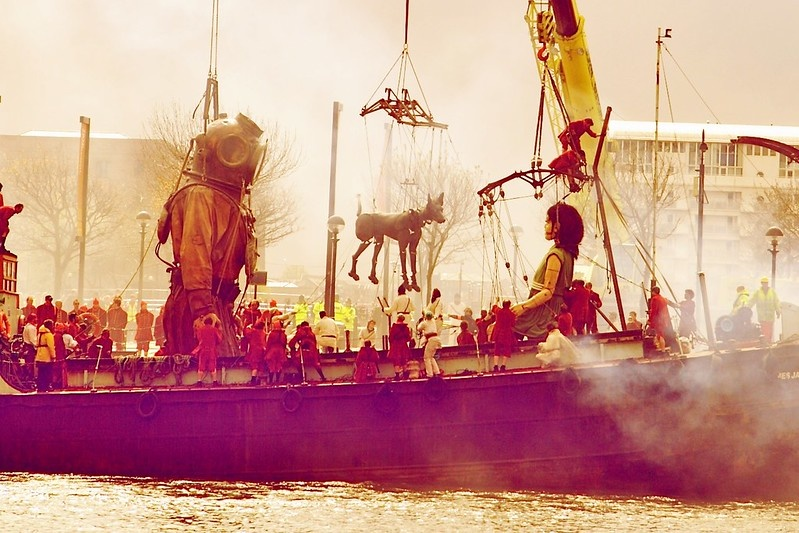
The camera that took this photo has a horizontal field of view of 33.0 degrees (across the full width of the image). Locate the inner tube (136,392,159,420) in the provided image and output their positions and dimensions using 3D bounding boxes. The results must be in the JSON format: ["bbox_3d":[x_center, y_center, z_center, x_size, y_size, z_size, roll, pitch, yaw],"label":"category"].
[{"bbox_3d":[-6.939,3.839,37.115,0.496,0.751,0.207,-11,-4,13],"label":"inner tube"}]

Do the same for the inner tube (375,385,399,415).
[{"bbox_3d":[-0.328,3.652,36.693,0.655,0.846,0.174,0,-5,-8],"label":"inner tube"}]

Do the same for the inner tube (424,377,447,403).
[{"bbox_3d":[1.007,3.363,36.582,0.531,0.631,0.205,4,3,7],"label":"inner tube"}]

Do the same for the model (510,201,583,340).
[{"bbox_3d":[4.269,0.134,37.734,1.909,3.792,0.661,-1,-5,2],"label":"model"}]
